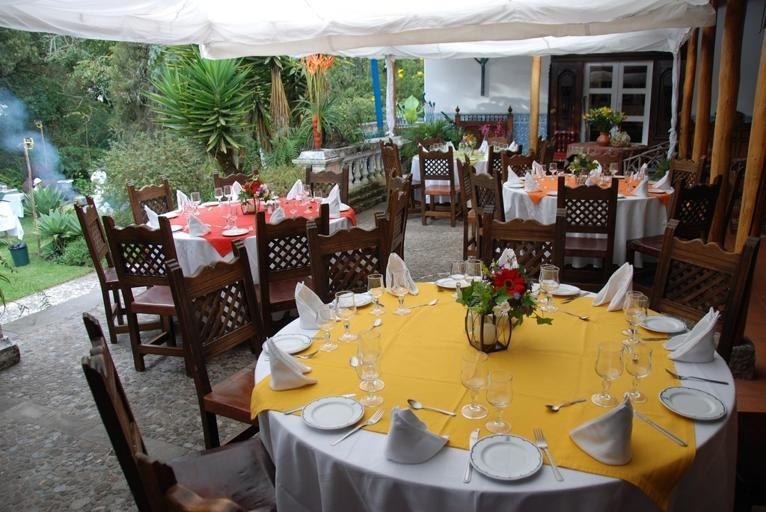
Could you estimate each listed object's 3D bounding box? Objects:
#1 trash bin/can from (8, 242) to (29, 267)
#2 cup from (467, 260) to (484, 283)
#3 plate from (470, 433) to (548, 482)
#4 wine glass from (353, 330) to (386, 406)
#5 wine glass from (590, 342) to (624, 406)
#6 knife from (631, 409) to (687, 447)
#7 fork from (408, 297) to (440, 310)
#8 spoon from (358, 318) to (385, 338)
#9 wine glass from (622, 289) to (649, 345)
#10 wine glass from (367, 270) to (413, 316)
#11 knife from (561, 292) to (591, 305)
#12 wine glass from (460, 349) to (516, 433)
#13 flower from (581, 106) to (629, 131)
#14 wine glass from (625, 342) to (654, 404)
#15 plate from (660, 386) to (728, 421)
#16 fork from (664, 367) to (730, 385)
[{"bbox_3d":[-5.824,-0.021,8.022,0.223,0.354,0.249,-18,22,-38],"label":"trash bin/can"},{"bbox_3d":[0.647,0.106,3.530,0.131,0.141,0.135,0,5,0],"label":"cup"},{"bbox_3d":[0.585,0.959,2.359,0.318,0.102,0.204,-1,18,10],"label":"plate"},{"bbox_3d":[-0.069,0.592,2.738,0.146,0.364,0.273,-5,17,-2],"label":"wine glass"},{"bbox_3d":[1.201,0.603,2.651,0.140,0.325,0.243,5,19,27],"label":"wine glass"},{"bbox_3d":[1.377,0.866,2.480,0.337,0.041,0.016,34,-2,16],"label":"knife"},{"bbox_3d":[0.303,0.351,3.591,0.249,0.016,0.096,-11,19,-19],"label":"fork"},{"bbox_3d":[-0.070,0.452,3.151,0.054,0.041,0.313,13,8,12],"label":"spoon"},{"bbox_3d":[1.554,0.372,3.077,0.130,0.282,0.523,5,20,27],"label":"wine glass"},{"bbox_3d":[0.047,0.236,3.546,0.274,0.287,0.306,-5,17,-1],"label":"wine glass"},{"bbox_3d":[1.405,0.298,3.630,0.326,0.029,0.083,-15,20,-29],"label":"knife"},{"bbox_3d":[0.553,0.635,2.662,0.259,0.373,0.475,0,18,14],"label":"wine glass"},{"bbox_3d":[5.301,-3.305,11.793,0.886,0.684,0.937,3,14,18],"label":"flower"},{"bbox_3d":[1.370,0.597,2.690,0.126,0.297,0.252,5,20,27],"label":"wine glass"},{"bbox_3d":[1.611,0.774,2.600,0.300,0.074,0.205,-3,18,6],"label":"plate"},{"bbox_3d":[1.759,0.677,2.791,0.258,0.043,0.039,2,38,16],"label":"fork"}]
